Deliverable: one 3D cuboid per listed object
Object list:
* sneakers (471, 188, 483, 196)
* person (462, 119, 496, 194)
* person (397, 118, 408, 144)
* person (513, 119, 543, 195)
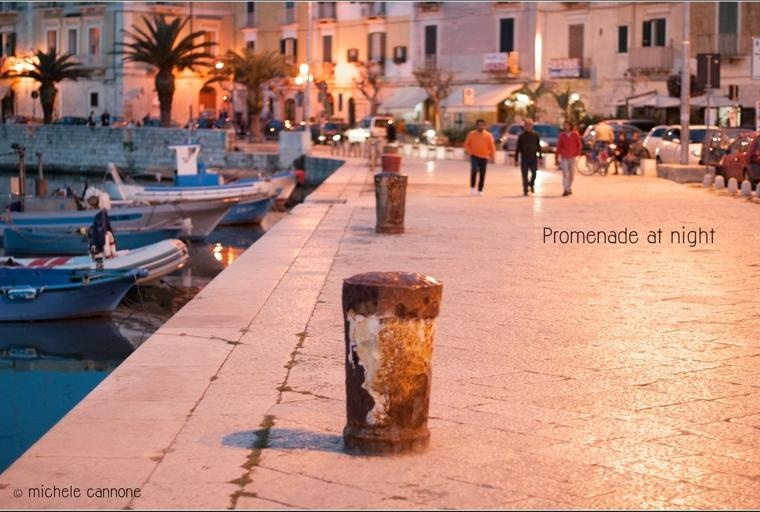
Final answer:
[{"bbox_3d":[2.414,-1.621,28.601,0.136,0.168,0.433,-15,10,-33],"label":"sneakers"},{"bbox_3d":[2.425,-2.489,28.358,0.724,1.815,1.344,10,11,6],"label":"person"},{"bbox_3d":[1.124,-6.188,56.955,0.655,0.908,1.975,8,9,-1],"label":"person"},{"bbox_3d":[3.639,-2.454,28.239,0.607,1.820,1.272,10,11,7],"label":"person"}]
